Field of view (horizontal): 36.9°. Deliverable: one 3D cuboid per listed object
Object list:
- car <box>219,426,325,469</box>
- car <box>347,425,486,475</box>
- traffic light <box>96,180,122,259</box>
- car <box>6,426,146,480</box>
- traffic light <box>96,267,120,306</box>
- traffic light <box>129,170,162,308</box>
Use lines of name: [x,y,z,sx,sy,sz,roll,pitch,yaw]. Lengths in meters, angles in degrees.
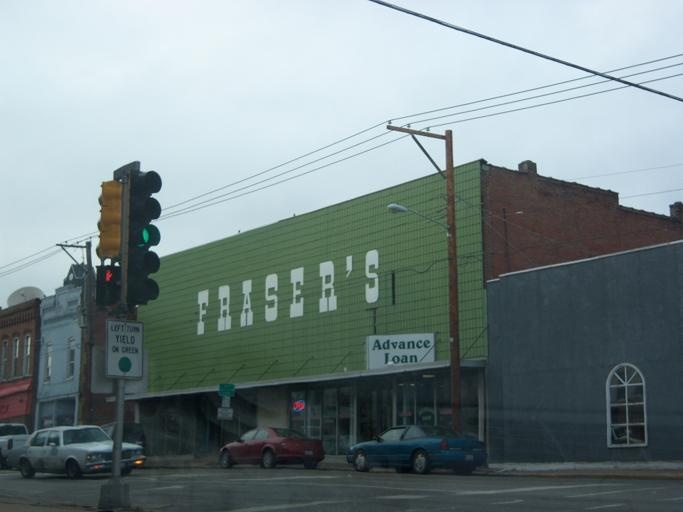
car: [-2.794,7.601,39.794,3.873,1.703,1.404,-14,-19,35]
car: [2.577,6.647,35.226,1.884,1.236,3.827,11,-13,-43]
traffic light: [-5.234,-0.845,23.138,0.529,1.923,0.684,12,-20,-43]
car: [-9.632,7.005,36.184,4.495,1.979,1.159,-14,-19,36]
traffic light: [-5.257,0.689,23.102,0.535,0.982,0.344,2,-15,-16]
traffic light: [-4.478,-0.416,23.203,0.709,3.092,0.587,1,-15,-12]
